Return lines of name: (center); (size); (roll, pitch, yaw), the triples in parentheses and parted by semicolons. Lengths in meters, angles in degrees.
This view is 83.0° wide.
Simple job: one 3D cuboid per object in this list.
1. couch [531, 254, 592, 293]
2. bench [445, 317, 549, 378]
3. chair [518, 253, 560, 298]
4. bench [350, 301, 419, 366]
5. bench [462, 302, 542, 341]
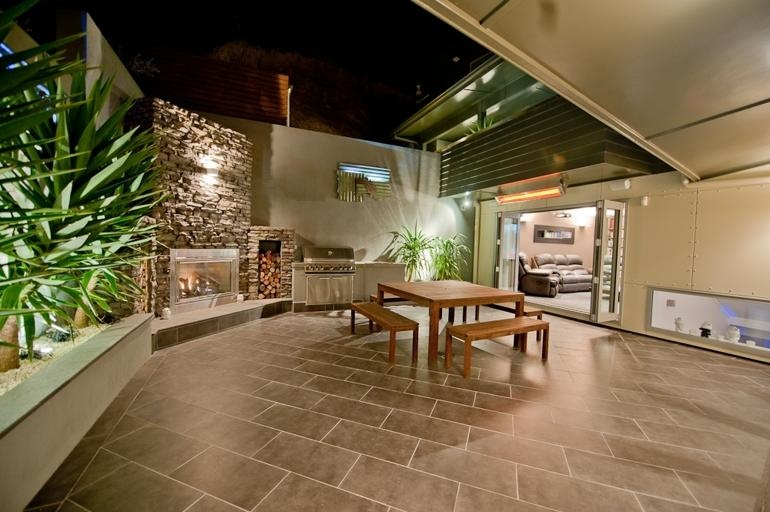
couch: (4.861, 0.449, 11.395); (2.293, 0.965, 0.939); (-1, 5, -29)
bench: (1.416, 1.128, 5.507); (1.377, 0.563, 0.476); (-1, 2, -24)
chair: (3.882, 0.456, 10.758); (1.297, 0.954, 1.278); (0, 7, -11)
bench: (-0.084, 0.974, 5.848); (1.024, 0.367, 0.306); (14, -1, 39)
bench: (1.678, 0.951, 6.260); (0.635, 0.624, 0.607); (-1, 4, -9)
